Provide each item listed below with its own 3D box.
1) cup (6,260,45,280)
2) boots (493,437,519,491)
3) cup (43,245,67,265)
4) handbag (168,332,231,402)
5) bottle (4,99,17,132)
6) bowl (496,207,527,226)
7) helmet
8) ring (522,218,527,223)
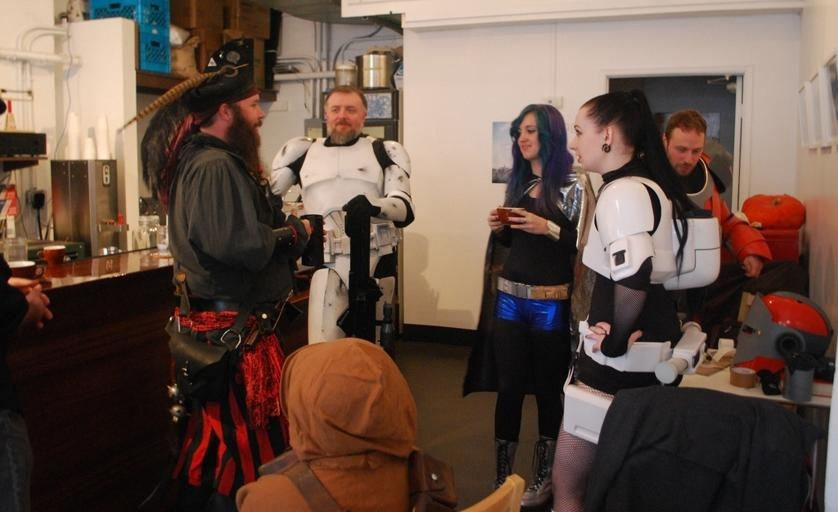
[{"bbox_3d":[-2.086,0.069,3.368,0.211,0.140,0.171,3,3,-30],"label":"cup"},{"bbox_3d":[0.540,1.297,3.897,0.126,0.339,0.150,1,8,-3],"label":"boots"},{"bbox_3d":[-2.215,-0.013,3.844,0.108,0.097,0.133,0,-2,16],"label":"cup"},{"bbox_3d":[-1.121,0.561,3.228,0.332,0.305,0.207,7,14,25],"label":"handbag"},{"bbox_3d":[-3.565,-1.224,5.435,0.095,0.260,0.550,-4,10,-33],"label":"bottle"},{"bbox_3d":[0.555,-0.246,3.788,0.162,0.098,0.103,3,9,12],"label":"bowl"},{"bbox_3d":[1.864,0.382,3.267,0.438,0.407,0.397,11,6,35],"label":"helmet"},{"bbox_3d":[0.634,-0.213,3.742,0.017,0.031,0.017,1,8,0],"label":"ring"}]
